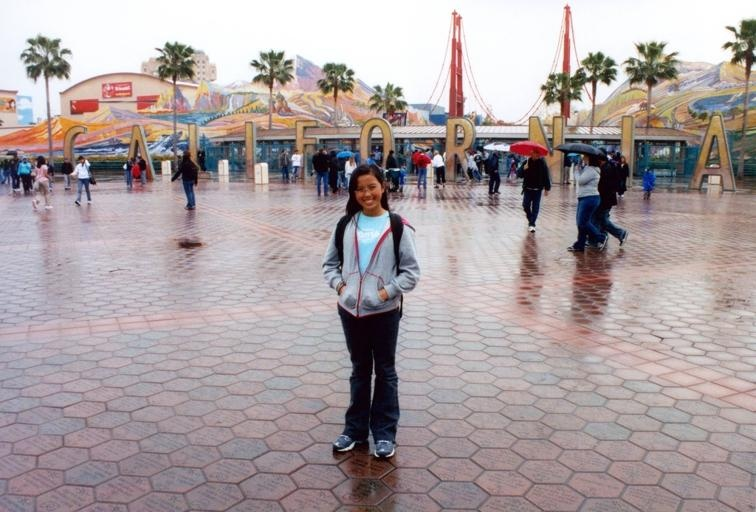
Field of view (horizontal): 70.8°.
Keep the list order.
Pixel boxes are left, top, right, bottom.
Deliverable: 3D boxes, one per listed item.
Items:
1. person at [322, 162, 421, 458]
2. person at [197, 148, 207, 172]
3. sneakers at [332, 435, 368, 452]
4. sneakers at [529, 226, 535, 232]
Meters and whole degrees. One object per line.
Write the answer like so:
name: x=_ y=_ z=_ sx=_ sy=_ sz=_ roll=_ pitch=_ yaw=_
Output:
person: x=-0.047 y=0.380 z=3.650 sx=0.621 sy=1.996 sz=0.548 roll=-1 pitch=14 yaw=-5
person: x=-14.484 y=-7.840 z=43.643 sx=0.589 sy=1.697 sz=1.395 roll=-5 pitch=14 yaw=-19
sneakers: x=-0.211 y=1.325 z=3.801 sx=0.265 sy=0.103 sz=0.092 roll=8 pitch=-7 yaw=-38
sneakers: x=3.722 y=-0.678 z=12.982 sx=0.184 sy=0.164 sz=0.460 roll=1 pitch=1 yaw=18
